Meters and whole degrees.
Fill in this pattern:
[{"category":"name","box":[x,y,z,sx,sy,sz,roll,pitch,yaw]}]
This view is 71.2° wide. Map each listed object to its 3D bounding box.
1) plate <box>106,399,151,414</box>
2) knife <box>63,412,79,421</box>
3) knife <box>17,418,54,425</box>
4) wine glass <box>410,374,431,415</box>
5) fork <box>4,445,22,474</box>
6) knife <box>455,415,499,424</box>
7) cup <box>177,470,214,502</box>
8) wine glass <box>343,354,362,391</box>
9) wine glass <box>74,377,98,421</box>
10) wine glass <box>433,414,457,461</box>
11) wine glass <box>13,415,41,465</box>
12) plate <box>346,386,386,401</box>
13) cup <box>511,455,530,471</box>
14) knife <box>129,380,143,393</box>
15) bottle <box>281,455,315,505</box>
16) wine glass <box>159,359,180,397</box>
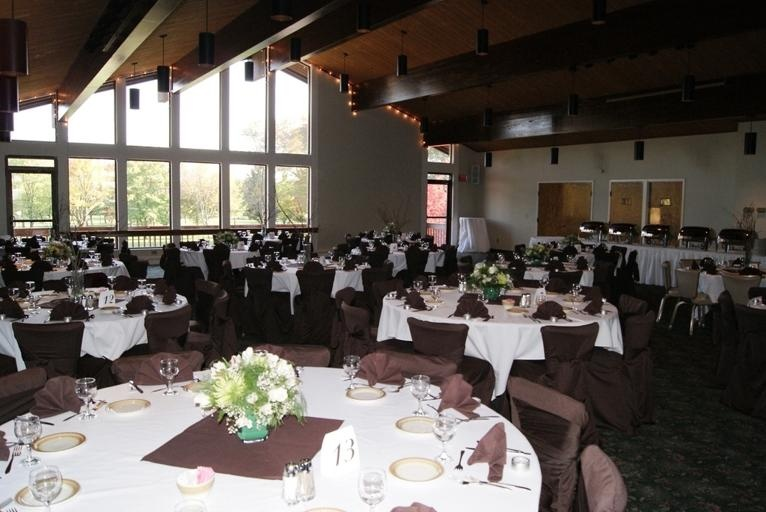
[{"category":"plate","box":[-1.563,0.926,3.300,0.237,0.035,0.172,-3,10,-27]},{"category":"knife","box":[-1.864,0.960,3.198,0.024,0.009,0.079,22,19,30]},{"category":"knife","box":[-1.931,0.919,2.969,0.071,0.022,0.078,5,-26,5]},{"category":"wine glass","box":[0.231,0.835,3.363,0.109,0.237,0.227,2,10,4]},{"category":"fork","box":[-1.987,1.078,2.883,0.043,0.025,0.175,12,48,-2]},{"category":"knife","box":[0.573,0.983,3.227,0.265,0.020,0.059,0,9,-9]},{"category":"cup","box":[-0.925,1.111,2.643,0.150,0.093,0.152,-1,3,0]},{"category":"wine glass","box":[-0.210,0.759,3.615,0.111,0.216,0.226,1,10,-3]},{"category":"wine glass","box":[-1.805,0.840,3.259,0.108,0.235,0.225,-5,11,-30]},{"category":"wine glass","box":[0.333,0.978,2.951,0.109,0.242,0.181,2,10,4]},{"category":"wine glass","box":[-1.927,0.983,2.914,0.108,0.208,0.278,-6,12,-36]},{"category":"plate","box":[-0.112,0.890,3.475,0.253,0.032,0.178,4,10,16]},{"category":"cup","box":[0.733,1.101,2.853,0.099,0.068,0.057,1,10,1]},{"category":"knife","box":[-1.618,0.854,3.516,0.103,0.038,0.057,8,4,29]},{"category":"bottle","box":[-0.407,1.117,2.667,0.174,0.218,0.109,-3,11,-25]},{"category":"wine glass","box":[-1.382,0.765,3.473,0.114,0.236,0.152,-3,11,-24]}]
